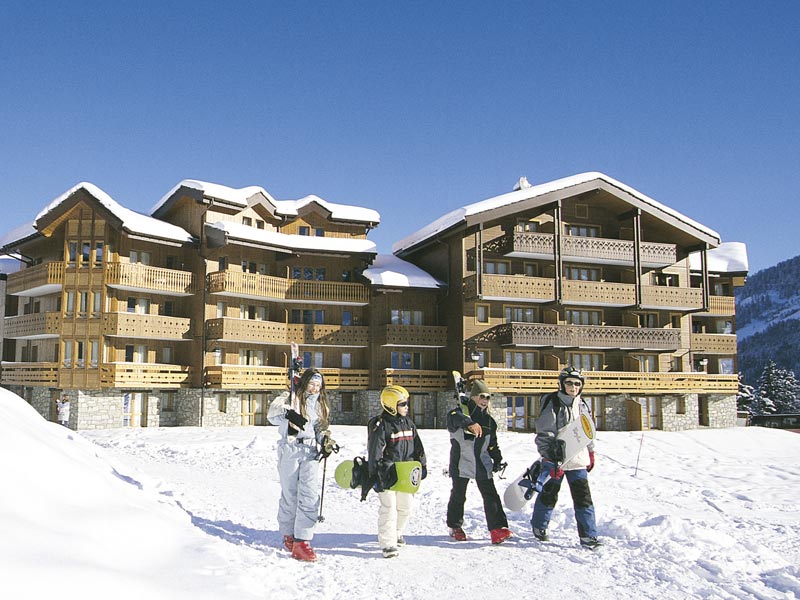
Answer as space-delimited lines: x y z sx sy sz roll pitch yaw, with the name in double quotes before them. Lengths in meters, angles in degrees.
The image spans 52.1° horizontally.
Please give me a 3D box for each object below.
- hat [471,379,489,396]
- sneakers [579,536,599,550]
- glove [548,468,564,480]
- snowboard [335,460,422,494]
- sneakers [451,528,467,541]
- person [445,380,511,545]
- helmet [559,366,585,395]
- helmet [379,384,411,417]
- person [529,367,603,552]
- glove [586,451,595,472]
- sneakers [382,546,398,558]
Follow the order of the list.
"hat" 1.649 1.786 16.624 0.284 0.346 0.318 -3 -14 -19
"sneakers" 3.603 4.600 15.546 0.371 0.300 0.145 -4 -2 7
"glove" 3.008 3.337 15.821 0.204 0.228 0.081 5 4 16
"snowboard" -0.357 3.355 15.579 1.480 0.627 0.509 -2 -11 9
"sneakers" 1.163 4.614 16.218 0.342 0.245 0.282 -1 -11 5
"person" 1.538 3.193 16.432 1.209 3.189 0.789 -1 -11 5
"helmet" 3.441 1.630 16.501 0.424 0.618 0.582 6 -15 5
"helmet" -0.099 1.935 16.069 0.550 0.570 0.445 -8 7 -2
"person" 3.233 3.015 16.016 1.214 3.460 0.858 -3 -11 15
"glove" 3.791 3.145 16.043 0.123 0.390 0.259 5 -9 -17
"sneakers" -0.179 4.626 15.118 0.290 0.191 0.127 1 -11 -2
